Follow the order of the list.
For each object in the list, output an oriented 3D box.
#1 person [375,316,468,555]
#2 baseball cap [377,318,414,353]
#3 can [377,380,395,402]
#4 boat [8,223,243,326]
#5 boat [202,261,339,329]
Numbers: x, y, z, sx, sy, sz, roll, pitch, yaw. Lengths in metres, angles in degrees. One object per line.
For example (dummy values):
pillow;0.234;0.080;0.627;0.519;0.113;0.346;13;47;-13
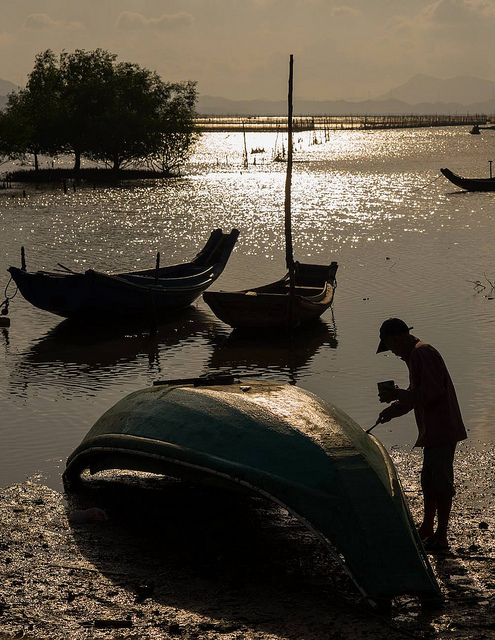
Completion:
person;1.510;1.005;12.362;0.760;2.000;0.606;1;13;7
baseball cap;1.271;0.142;12.454;0.262;0.360;0.403;1;13;5
can;1.199;0.596;12.297;0.134;0.188;0.339;1;13;5
boat;-1.496;-0.670;23.943;1.594;1.716;5.438;8;8;29
boat;0.645;-0.464;22.871;1.578;0.631;3.786;4;14;18
